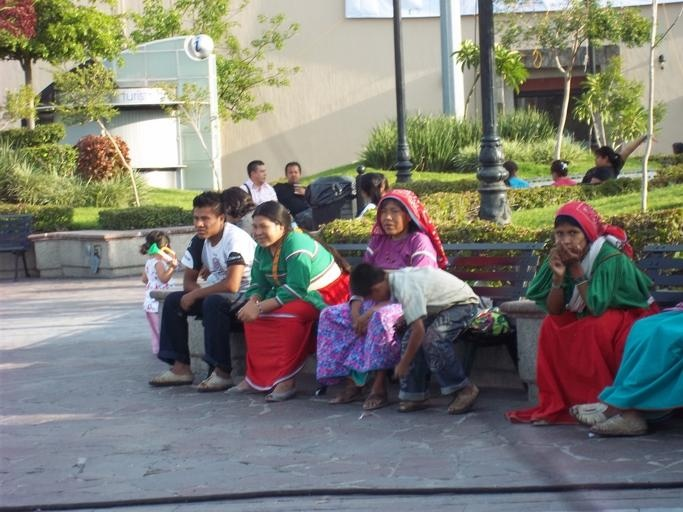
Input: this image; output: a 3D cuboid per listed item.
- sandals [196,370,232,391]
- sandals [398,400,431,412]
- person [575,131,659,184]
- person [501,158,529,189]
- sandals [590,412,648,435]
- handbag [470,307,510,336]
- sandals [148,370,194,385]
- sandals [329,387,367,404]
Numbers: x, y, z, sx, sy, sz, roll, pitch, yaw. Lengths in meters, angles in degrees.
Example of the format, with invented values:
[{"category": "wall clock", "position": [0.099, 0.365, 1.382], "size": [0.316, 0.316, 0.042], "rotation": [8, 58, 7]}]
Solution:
[{"category": "sandals", "position": [-1.403, 1.385, 12.744], "size": [0.348, 0.174, 0.193], "rotation": [3, -6, -25]}, {"category": "sandals", "position": [0.755, 1.547, 11.859], "size": [0.327, 0.148, 0.114], "rotation": [3, -1, -11]}, {"category": "person", "position": [4.407, -1.584, 18.839], "size": [0.893, 0.872, 2.031], "rotation": [0, 15, 12]}, {"category": "person", "position": [2.836, -1.325, 18.660], "size": [0.365, 0.443, 1.110], "rotation": [-1, 14, 7]}, {"category": "sandals", "position": [2.709, 1.620, 11.148], "size": [0.489, 0.243, 0.213], "rotation": [2, -4, 2]}, {"category": "handbag", "position": [1.557, 0.705, 11.912], "size": [0.342, 0.147, 0.262], "rotation": [-11, -18, 4]}, {"category": "sandals", "position": [-1.900, 1.386, 12.856], "size": [0.383, 0.149, 0.195], "rotation": [4, -6, -7]}, {"category": "sandals", "position": [0.088, 1.496, 12.292], "size": [0.400, 0.116, 0.142], "rotation": [-5, 2, -45]}]
